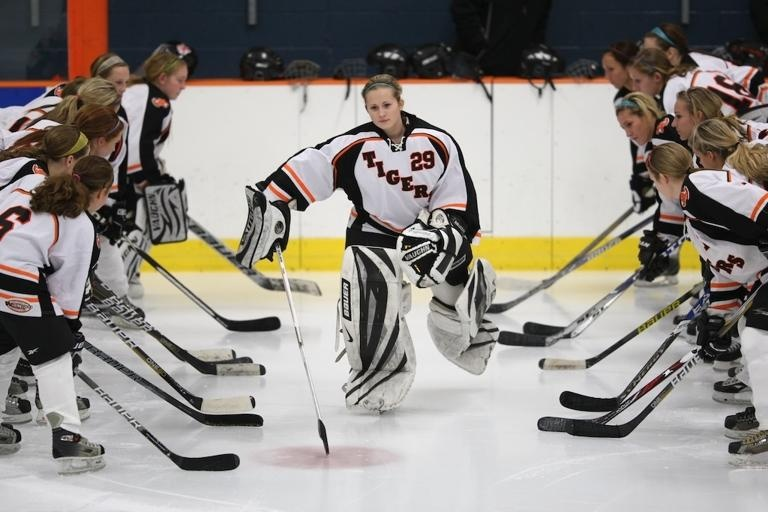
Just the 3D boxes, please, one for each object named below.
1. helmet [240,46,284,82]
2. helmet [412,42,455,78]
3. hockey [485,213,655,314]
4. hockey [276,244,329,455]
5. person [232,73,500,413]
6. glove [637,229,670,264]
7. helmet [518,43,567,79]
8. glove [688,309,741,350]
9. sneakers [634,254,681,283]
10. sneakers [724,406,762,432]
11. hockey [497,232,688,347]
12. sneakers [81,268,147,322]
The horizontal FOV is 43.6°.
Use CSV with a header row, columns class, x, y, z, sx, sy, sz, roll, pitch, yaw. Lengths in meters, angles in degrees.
class,x,y,z,sx,sy,sz,roll,pitch,yaw
helmet,-0.979,-1.544,7.617,0.352,0.243,0.243,2,4,1
helmet,0.375,-1.587,7.702,0.356,0.260,0.153,4,16,16
hockey,1.279,0.040,6.298,0.453,0.163,1.760,14,27,40
hockey,-0.467,0.533,5.413,0.056,1.032,0.085,-10,-15,-36
person,-0.040,-0.071,4.676,1.187,1.587,0.644,-3,16,-9
glove,1.491,-0.059,5.365,0.207,0.176,0.083,6,0,27
helmet,1.239,-1.551,7.557,0.337,0.197,0.232,0,6,-5
glove,1.585,0.335,4.521,0.281,0.206,0.335,0,-3,4
sneakers,1.710,0.073,6.001,0.211,0.243,0.567,-2,-4,25
sneakers,1.621,0.746,4.367,0.137,0.105,0.152,3,14,12
hockey,1.368,0.223,6.418,1.053,0.138,0.234,-31,10,-5
sneakers,-1.522,0.213,5.344,0.446,0.115,0.176,34,7,17
